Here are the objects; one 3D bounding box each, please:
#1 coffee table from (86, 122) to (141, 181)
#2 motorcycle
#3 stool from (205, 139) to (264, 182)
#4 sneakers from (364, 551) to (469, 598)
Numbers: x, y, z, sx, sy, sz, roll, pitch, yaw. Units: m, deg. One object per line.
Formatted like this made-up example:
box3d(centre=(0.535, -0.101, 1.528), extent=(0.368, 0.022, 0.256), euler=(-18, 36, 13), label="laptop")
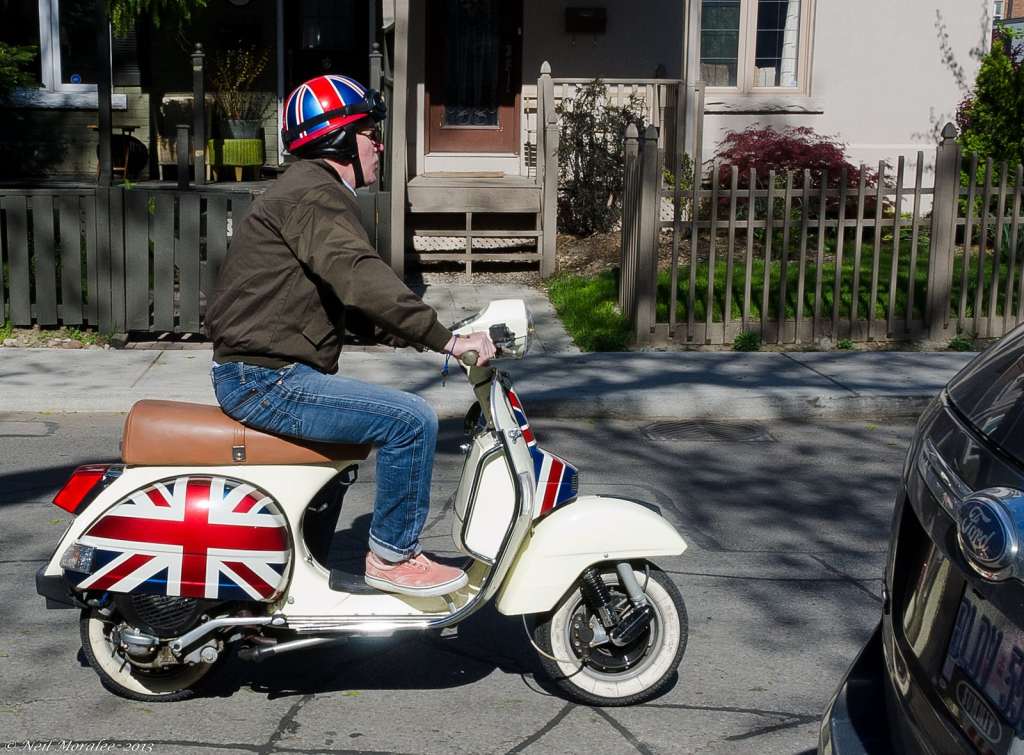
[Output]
box3d(centre=(-6.324, -3.687, 17.163), extent=(0.850, 0.899, 2.112), euler=(-3, 12, -20), label="coffee table")
box3d(centre=(-0.567, 0.536, 4.481), extent=(2.678, 1.776, 0.960), euler=(2, 0, -6), label="motorcycle")
box3d(centre=(-4.557, -3.708, 17.612), extent=(0.724, 0.600, 0.756), euler=(1, 1, 26), label="stool")
box3d(centre=(-0.413, 0.841, 4.470), extent=(0.349, 0.170, 0.199), euler=(2, 2, -7), label="sneakers")
